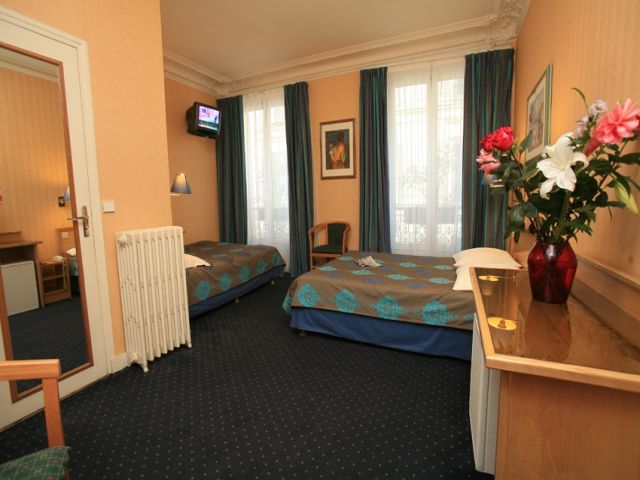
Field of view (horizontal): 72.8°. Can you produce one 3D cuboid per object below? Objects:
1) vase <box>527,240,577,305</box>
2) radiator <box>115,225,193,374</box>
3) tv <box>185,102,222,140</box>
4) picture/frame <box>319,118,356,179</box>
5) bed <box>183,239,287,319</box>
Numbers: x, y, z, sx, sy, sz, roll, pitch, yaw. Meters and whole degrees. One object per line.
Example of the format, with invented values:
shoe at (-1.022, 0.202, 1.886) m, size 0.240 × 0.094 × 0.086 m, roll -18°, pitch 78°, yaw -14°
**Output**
vase at (1.231, 0.182, 2.380) m, size 0.280 × 0.395 × 0.308 m, roll 0°, pitch -3°, yaw -8°
radiator at (-1.413, 0.476, 3.731) m, size 0.184 × 1.147 × 0.587 m, roll 2°, pitch 9°, yaw 30°
tv at (-1.706, -1.646, 6.129) m, size 0.373 × 0.581 × 0.558 m, roll 7°, pitch 11°, yaw 30°
picture/frame at (0.261, -1.304, 6.090) m, size 0.735 × 1.124 × 0.052 m, roll 4°, pitch 11°, yaw 30°
bed at (-1.158, 0.446, 5.170) m, size 0.843 × 0.585 × 1.805 m, roll -2°, pitch 8°, yaw 12°
